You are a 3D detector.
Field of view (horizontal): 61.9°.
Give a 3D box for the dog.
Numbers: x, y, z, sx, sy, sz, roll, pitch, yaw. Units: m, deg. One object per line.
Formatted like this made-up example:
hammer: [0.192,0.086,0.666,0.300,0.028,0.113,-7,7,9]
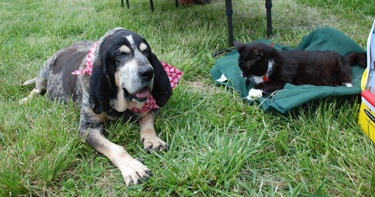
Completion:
dog: [-1.276,-0.487,5.675,1.732,1.611,3.755,-16,42,-39]
